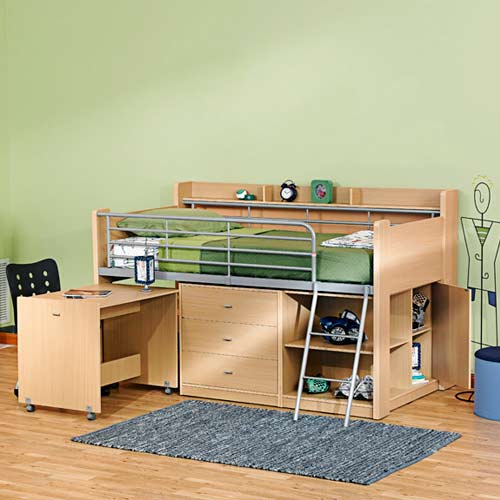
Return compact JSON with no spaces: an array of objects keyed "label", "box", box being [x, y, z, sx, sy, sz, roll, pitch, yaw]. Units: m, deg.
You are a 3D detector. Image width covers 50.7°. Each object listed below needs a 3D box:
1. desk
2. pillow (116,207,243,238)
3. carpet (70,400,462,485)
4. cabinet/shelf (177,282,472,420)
[{"label":"desk","box":[-0.946,0.609,3.353,0.652,0.743,0.758,-1,-1,26]},{"label":"pillow","box":[-0.508,-0.216,3.887,0.816,0.274,0.813,-1,-1,17]},{"label":"carpet","box":[0.114,0.938,2.695,1.679,0.035,0.927,-1,-2,25]},{"label":"cabinet/shelf","box":[0.468,0.603,3.477,1.875,0.758,0.897,-1,-1,13]}]
